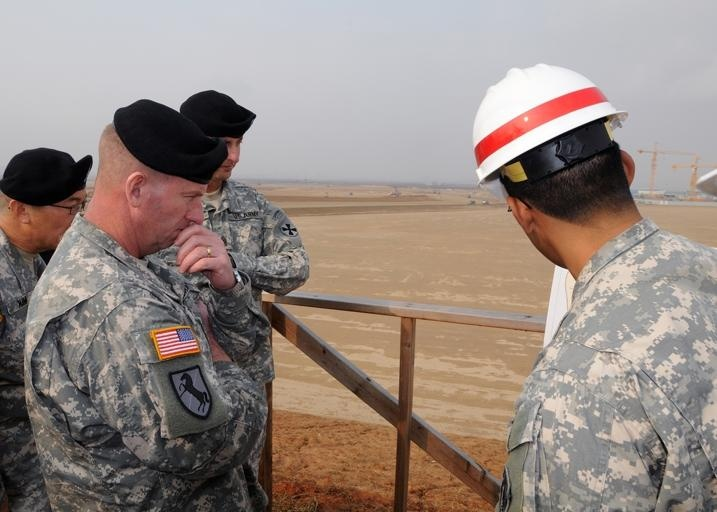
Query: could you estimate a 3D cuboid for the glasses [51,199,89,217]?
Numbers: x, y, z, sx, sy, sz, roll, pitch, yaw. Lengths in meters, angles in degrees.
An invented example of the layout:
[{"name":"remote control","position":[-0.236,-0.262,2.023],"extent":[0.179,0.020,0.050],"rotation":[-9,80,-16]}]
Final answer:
[{"name":"glasses","position":[-1.489,-0.246,2.771],"extent":[0.183,0.048,0.164],"rotation":[6,11,13]}]
